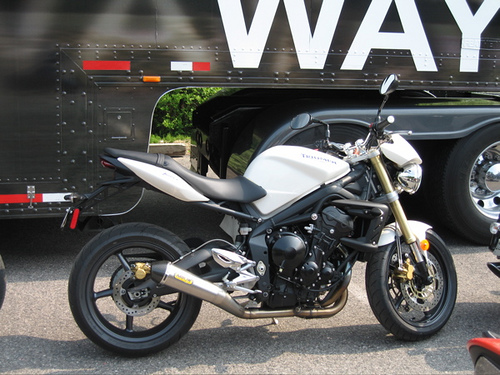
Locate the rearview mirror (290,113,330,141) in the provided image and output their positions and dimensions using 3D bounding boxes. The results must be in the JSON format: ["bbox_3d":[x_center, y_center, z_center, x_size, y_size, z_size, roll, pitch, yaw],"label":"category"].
[{"bbox_3d":[0.471,-0.512,3.484,0.326,0.221,0.121,13,62,-22],"label":"rearview mirror"}]

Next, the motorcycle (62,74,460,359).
[{"bbox_3d":[0.223,0.361,3.520,3.145,0.860,1.477,1,89,-16],"label":"motorcycle"}]
